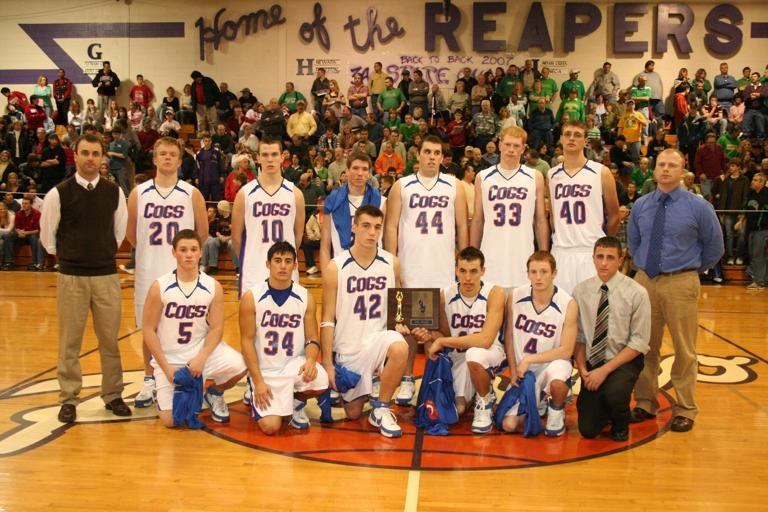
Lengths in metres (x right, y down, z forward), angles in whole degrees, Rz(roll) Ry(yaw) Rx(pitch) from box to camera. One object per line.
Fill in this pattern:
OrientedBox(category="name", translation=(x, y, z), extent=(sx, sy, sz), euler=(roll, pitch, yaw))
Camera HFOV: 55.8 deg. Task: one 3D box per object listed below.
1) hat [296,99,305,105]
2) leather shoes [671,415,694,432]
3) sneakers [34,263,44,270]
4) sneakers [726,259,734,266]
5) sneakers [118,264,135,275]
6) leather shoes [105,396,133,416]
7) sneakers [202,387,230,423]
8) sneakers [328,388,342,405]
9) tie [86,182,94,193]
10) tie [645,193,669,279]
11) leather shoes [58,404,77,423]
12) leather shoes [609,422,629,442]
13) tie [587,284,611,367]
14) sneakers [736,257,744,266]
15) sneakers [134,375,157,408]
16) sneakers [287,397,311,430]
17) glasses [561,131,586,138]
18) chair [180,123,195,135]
OrientedBox(category="hat", translation=(-2.151, -4.021, 19.001), extent=(0.263, 0.118, 0.385), euler=(1, 13, -6))
OrientedBox(category="leather shoes", translation=(3.569, 2.018, 8.654), extent=(0.333, 0.174, 0.155), euler=(-1, -2, -4))
OrientedBox(category="sneakers", translation=(-7.824, 0.270, 16.478), extent=(0.266, 0.092, 0.102), euler=(28, -7, -37))
OrientedBox(category="sneakers", translation=(7.533, 0.153, 15.771), extent=(0.115, 0.111, 0.118), euler=(1, -4, 3))
OrientedBox(category="sneakers", translation=(-5.534, 0.306, 15.623), extent=(0.264, 0.124, 0.401), euler=(4, 0, -3))
OrientedBox(category="leather shoes", translation=(-3.240, 1.867, 8.891), extent=(0.390, 0.173, 0.161), euler=(-1, -3, 41))
OrientedBox(category="sneakers", translation=(-2.018, 1.800, 8.866), extent=(0.191, 0.237, 0.513), euler=(-7, 33, -41))
OrientedBox(category="sneakers", translation=(-0.605, 1.833, 9.255), extent=(0.124, 0.205, 0.085), euler=(-1, -2, 4))
OrientedBox(category="tie", translation=(-3.495, -0.825, 8.665), extent=(0.090, 0.098, 0.034), euler=(-3, 9, -16))
OrientedBox(category="tie", translation=(3.309, -0.249, 8.788), extent=(0.273, 1.016, 0.119), euler=(0, -2, -6))
OrientedBox(category="leather shoes", translation=(-3.779, 1.903, 8.685), extent=(0.199, 0.224, 0.176), euler=(0, -2, -25))
OrientedBox(category="leather shoes", translation=(2.763, 2.070, 8.485), extent=(0.235, 0.196, 0.161), euler=(-1, -2, 2))
OrientedBox(category="tie", translation=(2.554, 0.852, 8.650), extent=(0.247, 0.991, 0.059), euler=(-1, -2, 15))
OrientedBox(category="sneakers", translation=(7.665, 0.124, 15.635), extent=(0.109, 0.149, 0.152), euler=(0, -5, 8))
OrientedBox(category="sneakers", translation=(-2.997, 1.714, 9.109), extent=(0.270, 0.387, 0.169), euler=(0, -2, -10))
OrientedBox(category="sneakers", translation=(-0.999, 1.904, 8.692), extent=(0.251, 0.364, 0.152), euler=(0, -2, -11))
OrientedBox(category="glasses", translation=(2.436, -1.555, 9.277), extent=(0.293, 0.077, 0.114), euler=(-1, -2, -6))
OrientedBox(category="chair", translation=(-5.721, -3.704, 21.239), extent=(0.514, 0.378, 0.286), euler=(-1, -7, -3))
